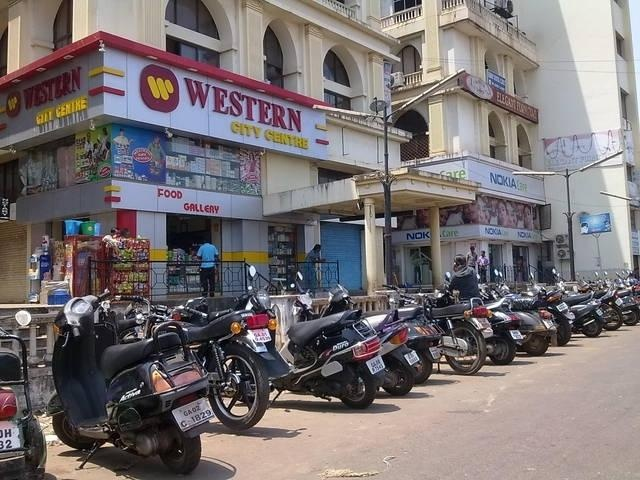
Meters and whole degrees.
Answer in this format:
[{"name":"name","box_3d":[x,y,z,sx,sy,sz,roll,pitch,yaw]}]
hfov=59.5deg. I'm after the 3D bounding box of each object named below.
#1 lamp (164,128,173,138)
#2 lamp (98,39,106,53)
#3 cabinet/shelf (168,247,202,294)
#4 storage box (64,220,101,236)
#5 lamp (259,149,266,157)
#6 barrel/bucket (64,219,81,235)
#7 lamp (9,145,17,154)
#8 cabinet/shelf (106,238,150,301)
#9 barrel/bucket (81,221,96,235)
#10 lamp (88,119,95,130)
[{"name":"lamp","box_3d":[-5.433,-3.800,19.945,0.170,0.243,0.430,7,-24,-8]},{"name":"lamp","box_3d":[-6.963,-6.178,17.928,0.272,0.392,0.227,0,5,-2]},{"name":"cabinet/shelf","box_3d":[-4.687,1.083,19.461,0.873,1.608,1.605,1,-6,-8]},{"name":"storage box","box_3d":[-6.884,-0.344,16.174,0.890,0.478,0.661,1,-4,-6]},{"name":"lamp","box_3d":[-2.385,-3.566,23.154,0.251,0.199,0.363,-4,-8,4]},{"name":"barrel/bucket","box_3d":[-7.050,-0.333,16.023,0.430,0.574,0.922,0,-9,-24]},{"name":"lamp","box_3d":[-11.640,-3.429,21.329,0.162,0.221,0.316,-5,7,-40]},{"name":"cabinet/shelf","box_3d":[-5.404,0.808,16.118,1.066,1.898,0.279,0,13,-16]},{"name":"barrel/bucket","box_3d":[-6.657,-0.327,16.238,0.386,0.342,0.364,1,-6,0]},{"name":"lamp","box_3d":[-7.569,-3.843,18.690,0.262,0.395,0.223,-4,8,-44]}]
